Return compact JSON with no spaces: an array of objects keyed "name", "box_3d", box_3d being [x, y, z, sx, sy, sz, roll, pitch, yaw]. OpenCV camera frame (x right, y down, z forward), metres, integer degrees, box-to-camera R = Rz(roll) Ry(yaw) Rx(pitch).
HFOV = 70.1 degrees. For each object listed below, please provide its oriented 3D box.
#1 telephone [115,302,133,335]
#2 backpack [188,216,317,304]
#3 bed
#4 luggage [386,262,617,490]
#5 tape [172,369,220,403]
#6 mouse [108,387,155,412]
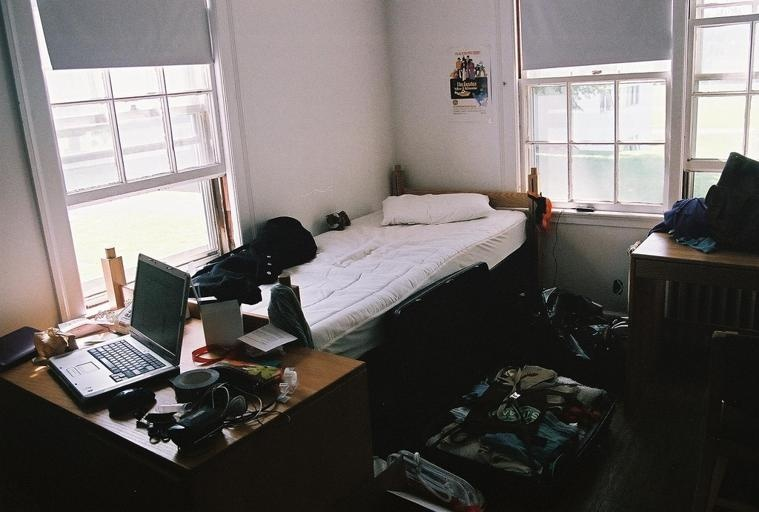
[{"name":"telephone","box_3d":[-1.374,0.336,2.901,0.143,0.040,0.143,-46,41,4]},{"name":"backpack","box_3d":[-0.787,0.015,3.489,0.458,0.230,0.673,9,21,24]},{"name":"bed","box_3d":[0.045,0.029,3.810,1.211,1.030,2.125,8,19,35]},{"name":"luggage","box_3d":[0.649,0.748,3.101,1.075,0.929,1.401,5,24,37]},{"name":"tape","box_3d":[-0.738,0.525,2.193,0.178,0.079,0.158,-10,20,-20]},{"name":"mouse","box_3d":[-1.005,0.577,2.182,0.089,0.045,0.134,10,14,41]}]
